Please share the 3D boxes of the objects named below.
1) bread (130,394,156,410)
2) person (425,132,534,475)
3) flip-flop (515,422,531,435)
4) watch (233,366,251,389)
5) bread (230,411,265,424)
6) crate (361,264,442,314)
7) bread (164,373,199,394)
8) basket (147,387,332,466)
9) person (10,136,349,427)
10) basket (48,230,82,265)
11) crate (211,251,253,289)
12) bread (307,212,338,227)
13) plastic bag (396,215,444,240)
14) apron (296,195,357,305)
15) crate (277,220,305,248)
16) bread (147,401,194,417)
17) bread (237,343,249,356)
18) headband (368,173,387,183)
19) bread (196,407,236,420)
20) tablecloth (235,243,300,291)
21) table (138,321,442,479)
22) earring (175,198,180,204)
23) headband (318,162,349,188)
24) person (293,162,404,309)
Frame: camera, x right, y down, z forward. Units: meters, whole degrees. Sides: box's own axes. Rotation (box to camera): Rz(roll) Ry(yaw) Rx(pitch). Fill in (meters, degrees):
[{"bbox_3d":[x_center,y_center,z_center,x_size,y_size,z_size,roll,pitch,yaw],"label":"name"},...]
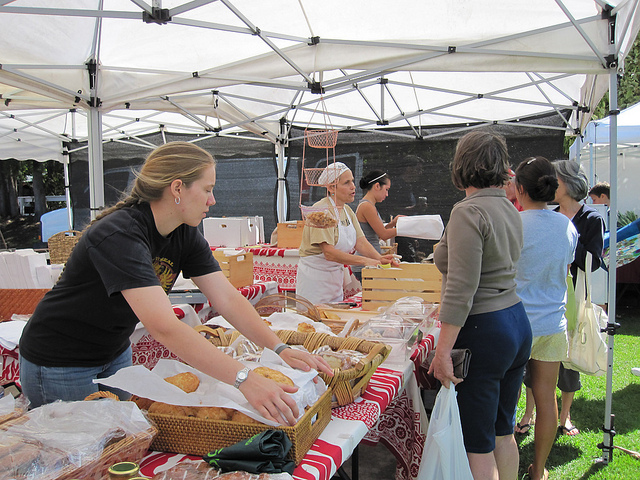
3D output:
[{"bbox_3d":[-0.617,0.566,1.534,0.063,0.025,0.065,1,2,34],"label":"bread"},{"bbox_3d":[0.860,0.384,2.369,0.636,1.934,0.319,-4,2,-36],"label":"person"},{"bbox_3d":[1.806,1.667,3.909,0.102,0.075,0.178,-3,0,33],"label":"flip-flop"},{"bbox_3d":[-0.260,0.455,1.464,0.034,0.064,0.061,28,-11,14],"label":"watch"},{"bbox_3d":[-0.249,0.579,1.430,0.050,0.013,0.046,26,-5,11],"label":"bread"},{"bbox_3d":[0.579,0.333,3.130,0.562,0.315,0.085,-3,1,1],"label":"crate"},{"bbox_3d":[-0.489,0.504,1.559,0.104,0.049,0.034,14,-29,-4],"label":"bread"},{"bbox_3d":[-0.246,0.602,1.649,0.481,0.176,0.486,3,3,10],"label":"basket"},{"bbox_3d":[-0.649,0.135,1.785,1.283,1.028,0.541,-3,1,14],"label":"person"},{"bbox_3d":[-2.730,0.080,4.671,0.227,0.364,0.550,-4,1,-40],"label":"basket"},{"bbox_3d":[-0.773,0.249,4.017,0.309,0.348,0.343,5,7,4],"label":"crate"},{"bbox_3d":[0.020,-0.169,3.839,0.192,0.066,0.122,23,-41,-8],"label":"bread"},{"bbox_3d":[0.915,-0.114,4.052,0.414,0.221,0.322,-3,0,12],"label":"plastic bag"},{"bbox_3d":[0.046,0.095,4.154,0.536,0.706,0.417,-2,1,30],"label":"apron"},{"bbox_3d":[-0.399,-0.071,5.905,0.370,0.216,0.355,1,-1,-3],"label":"crate"},{"bbox_3d":[-0.507,0.571,1.484,0.075,0.023,0.080,8,-1,4],"label":"bread"},{"bbox_3d":[-0.340,0.478,1.928,0.055,0.035,0.057,7,26,-16],"label":"bread"},{"bbox_3d":[0.624,-0.672,4.795,0.214,0.024,0.026,-26,-22,-14],"label":"headband"},{"bbox_3d":[-0.344,0.576,1.463,0.067,0.019,0.066,2,4,0],"label":"bread"},{"bbox_3d":[-0.629,0.333,5.738,0.660,0.333,0.652,1,-1,16],"label":"tablecloth"},{"bbox_3d":[-0.124,0.520,1.764,0.533,0.394,0.980,4,5,17],"label":"table"},{"bbox_3d":[-0.558,-0.153,1.725,0.017,0.020,0.012,-3,1,-16],"label":"earring"},{"bbox_3d":[0.121,-0.611,4.028,0.255,0.149,0.238,-3,0,0],"label":"headband"},{"bbox_3d":[0.264,0.251,4.057,0.970,1.789,0.852,4,14,3],"label":"person"}]
